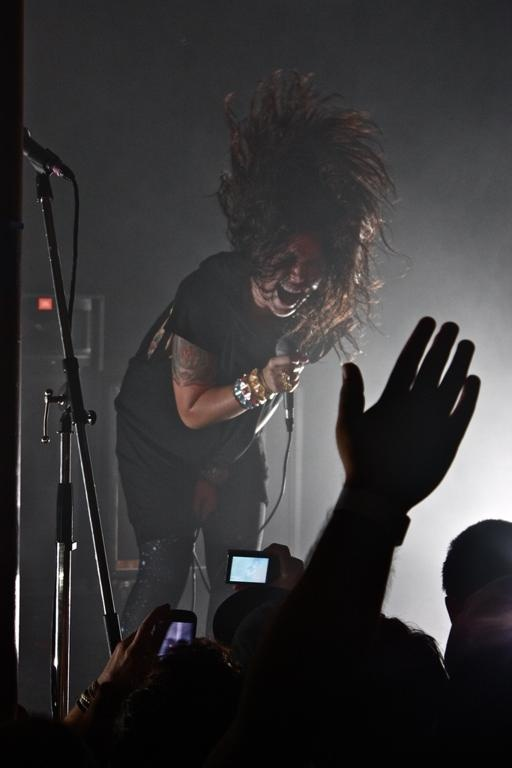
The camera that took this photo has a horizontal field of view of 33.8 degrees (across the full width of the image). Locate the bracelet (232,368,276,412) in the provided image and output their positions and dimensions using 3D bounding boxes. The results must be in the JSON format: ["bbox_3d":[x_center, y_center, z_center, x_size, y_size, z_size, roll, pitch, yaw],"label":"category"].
[{"bbox_3d":[-0.006,0.012,2.425,0.095,0.067,0.110,31,35,-9],"label":"bracelet"}]

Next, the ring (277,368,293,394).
[{"bbox_3d":[0.084,-0.010,2.373,0.017,0.054,0.060,-14,-13,32],"label":"ring"}]

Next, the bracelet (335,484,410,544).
[{"bbox_3d":[0.113,0.121,0.794,0.063,0.031,0.046,31,4,3],"label":"bracelet"}]
